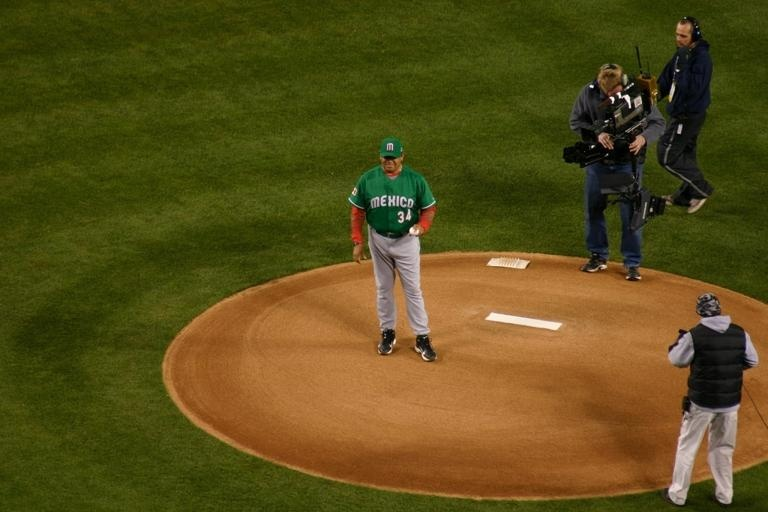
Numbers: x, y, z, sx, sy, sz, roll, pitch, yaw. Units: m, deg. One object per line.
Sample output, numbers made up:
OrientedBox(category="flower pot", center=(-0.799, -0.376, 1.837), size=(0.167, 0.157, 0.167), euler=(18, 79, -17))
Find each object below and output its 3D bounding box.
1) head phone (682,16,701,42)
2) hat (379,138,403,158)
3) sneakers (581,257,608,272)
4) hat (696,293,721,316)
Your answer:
OrientedBox(category="head phone", center=(5.059, -3.692, 15.583), size=(0.294, 0.347, 0.438), euler=(25, 40, 37))
OrientedBox(category="hat", center=(0.104, -1.517, 13.408), size=(0.287, 0.244, 0.323), euler=(-4, 31, -3))
OrientedBox(category="sneakers", center=(3.425, 0.149, 15.526), size=(0.486, 0.201, 0.179), euler=(-2, 9, -10))
OrientedBox(category="hat", center=(4.045, 0.605, 11.887), size=(0.257, 0.259, 0.319), euler=(-2, 1, 6))
